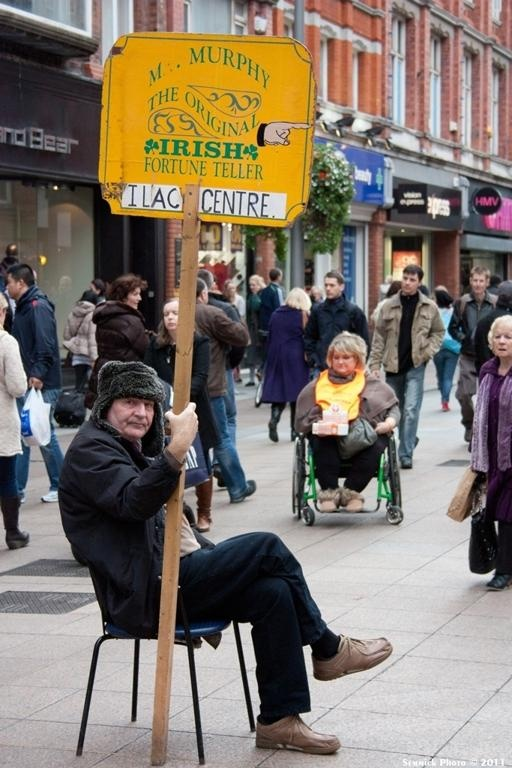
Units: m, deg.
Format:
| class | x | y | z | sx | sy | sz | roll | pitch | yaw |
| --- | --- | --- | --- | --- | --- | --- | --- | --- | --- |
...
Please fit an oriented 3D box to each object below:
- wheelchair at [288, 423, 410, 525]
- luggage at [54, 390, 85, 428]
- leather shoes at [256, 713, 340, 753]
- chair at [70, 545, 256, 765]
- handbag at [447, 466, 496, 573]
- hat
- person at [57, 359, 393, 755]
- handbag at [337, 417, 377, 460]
| class | x | y | z | sx | sy | sz | roll | pitch | yaw |
| --- | --- | --- | --- | --- | --- | --- | --- | --- | --- |
| wheelchair | 0.718 | 0.783 | 7.511 | 0.703 | 0.789 | 0.783 | 2 | 9 | 5 |
| luggage | -2.400 | 0.315 | 12.185 | 0.422 | 0.562 | 0.297 | 1 | -30 | 2 |
| leather shoes | 0.121 | 1.124 | 3.018 | 0.275 | 0.121 | 0.065 | -1 | 1 | 21 |
| chair | -0.314 | 0.911 | 3.408 | 0.598 | 0.906 | 0.581 | -4 | -4 | 20 |
| handbag | 1.246 | 0.793 | 5.516 | 0.282 | 0.605 | 0.342 | 2 | 7 | 6 |
| hat | -0.419 | 0.078 | 3.170 | 0.221 | 0.334 | 0.239 | 1 | 13 | -5 |
| person | -0.144 | 0.556 | 3.092 | 0.964 | 1.268 | 0.520 | -2 | 1 | -12 |
| handbag | 0.752 | 0.416 | 7.192 | 0.228 | 0.237 | 0.128 | 32 | 0 | -34 |
